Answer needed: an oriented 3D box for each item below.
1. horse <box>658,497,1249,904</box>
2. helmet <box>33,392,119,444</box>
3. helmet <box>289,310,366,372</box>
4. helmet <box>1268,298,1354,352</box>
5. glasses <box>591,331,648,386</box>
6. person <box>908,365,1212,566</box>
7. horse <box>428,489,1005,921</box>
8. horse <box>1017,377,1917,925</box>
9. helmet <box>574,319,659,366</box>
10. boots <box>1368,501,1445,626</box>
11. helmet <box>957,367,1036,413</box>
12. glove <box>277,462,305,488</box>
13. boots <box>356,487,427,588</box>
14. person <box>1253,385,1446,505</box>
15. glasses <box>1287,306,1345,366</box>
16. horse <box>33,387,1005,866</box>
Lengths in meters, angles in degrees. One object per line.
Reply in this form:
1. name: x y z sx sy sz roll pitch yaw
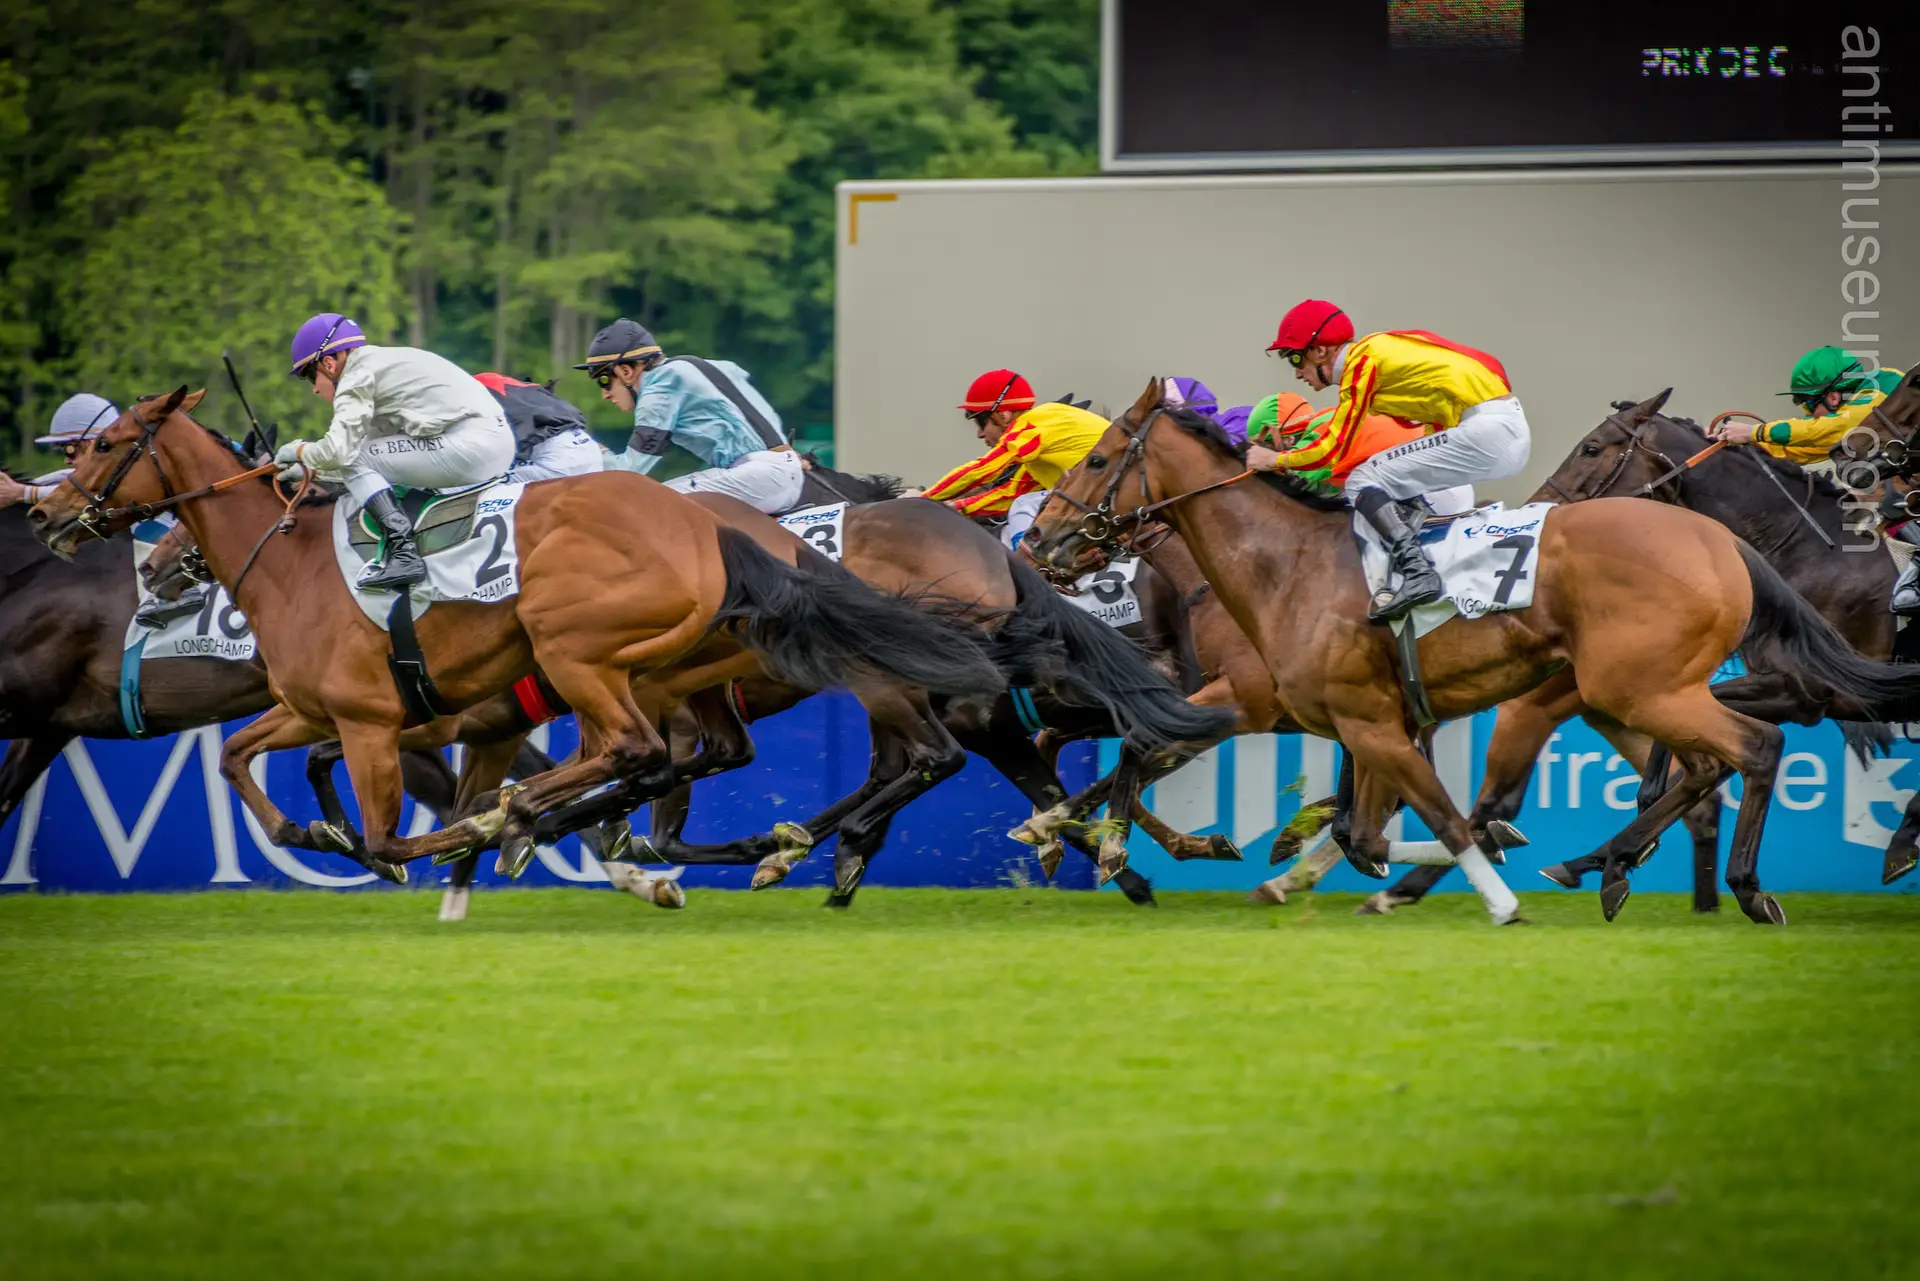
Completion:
1. horse: 0.469 0.239 10.147 0.636 1.363 2.554 -24 -7 -17
2. helmet: -3.685 -0.908 10.387 0.422 0.176 0.271 -3 -1 -20
3. helmet: -2.513 -1.167 9.834 0.326 0.199 0.216 0 -8 -9
4. helmet: 1.422 -1.259 10.030 0.311 0.147 0.191 2 4 8
5. glasses: -1.496 -1.219 10.598 0.282 0.149 0.178 -5 9 3
6. person: 0.282 -0.630 10.729 1.452 0.933 0.406 -2 -10 26
7. horse: -0.769 0.233 9.786 3.236 1.732 0.740 -3 -24 46
8. horse: 1.933 0.045 9.492 2.976 2.058 0.709 0 1 21
9. helmet: -1.482 -1.252 10.578 0.310 0.126 0.185 2 0 -4
10. boots: 1.656 -0.283 9.224 0.268 0.440 0.197 0 1 4
11. helmet: 0.172 -1.143 11.554 0.312 0.133 0.191 5 4 0
12. glove: -2.656 -0.643 9.731 0.108 0.096 0.079 19 13 16
13. boots: -2.155 -0.373 9.319 0.218 0.367 0.200 0 1 -22
14. person: 1.818 -0.843 10.497 1.203 0.412 0.358 -3 6 26
15. glasses: 1.431 -1.233 9.945 0.266 0.130 0.167 -3 14 13
16. horse: -1.656 0.001 9.628 4.245 1.619 0.809 -1 4 22
